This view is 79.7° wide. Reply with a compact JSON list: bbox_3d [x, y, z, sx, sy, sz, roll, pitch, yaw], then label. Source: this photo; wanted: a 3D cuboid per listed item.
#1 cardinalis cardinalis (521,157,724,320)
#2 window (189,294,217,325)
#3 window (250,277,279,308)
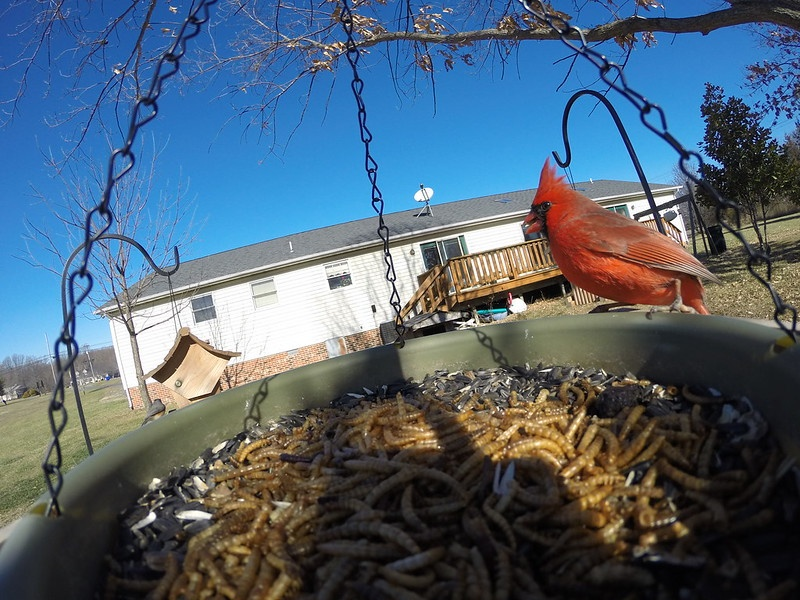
[{"bbox_3d":[1.367,-0.378,2.956,1.048,1.133,0.567,-1,5,17],"label":"cardinalis cardinalis"},{"bbox_3d":[-7.001,0.352,17.017,0.735,1.031,0.058,-10,-3,-24],"label":"window"},{"bbox_3d":[-4.906,-0.250,17.320,0.730,0.946,0.125,-13,-5,-10],"label":"window"}]
